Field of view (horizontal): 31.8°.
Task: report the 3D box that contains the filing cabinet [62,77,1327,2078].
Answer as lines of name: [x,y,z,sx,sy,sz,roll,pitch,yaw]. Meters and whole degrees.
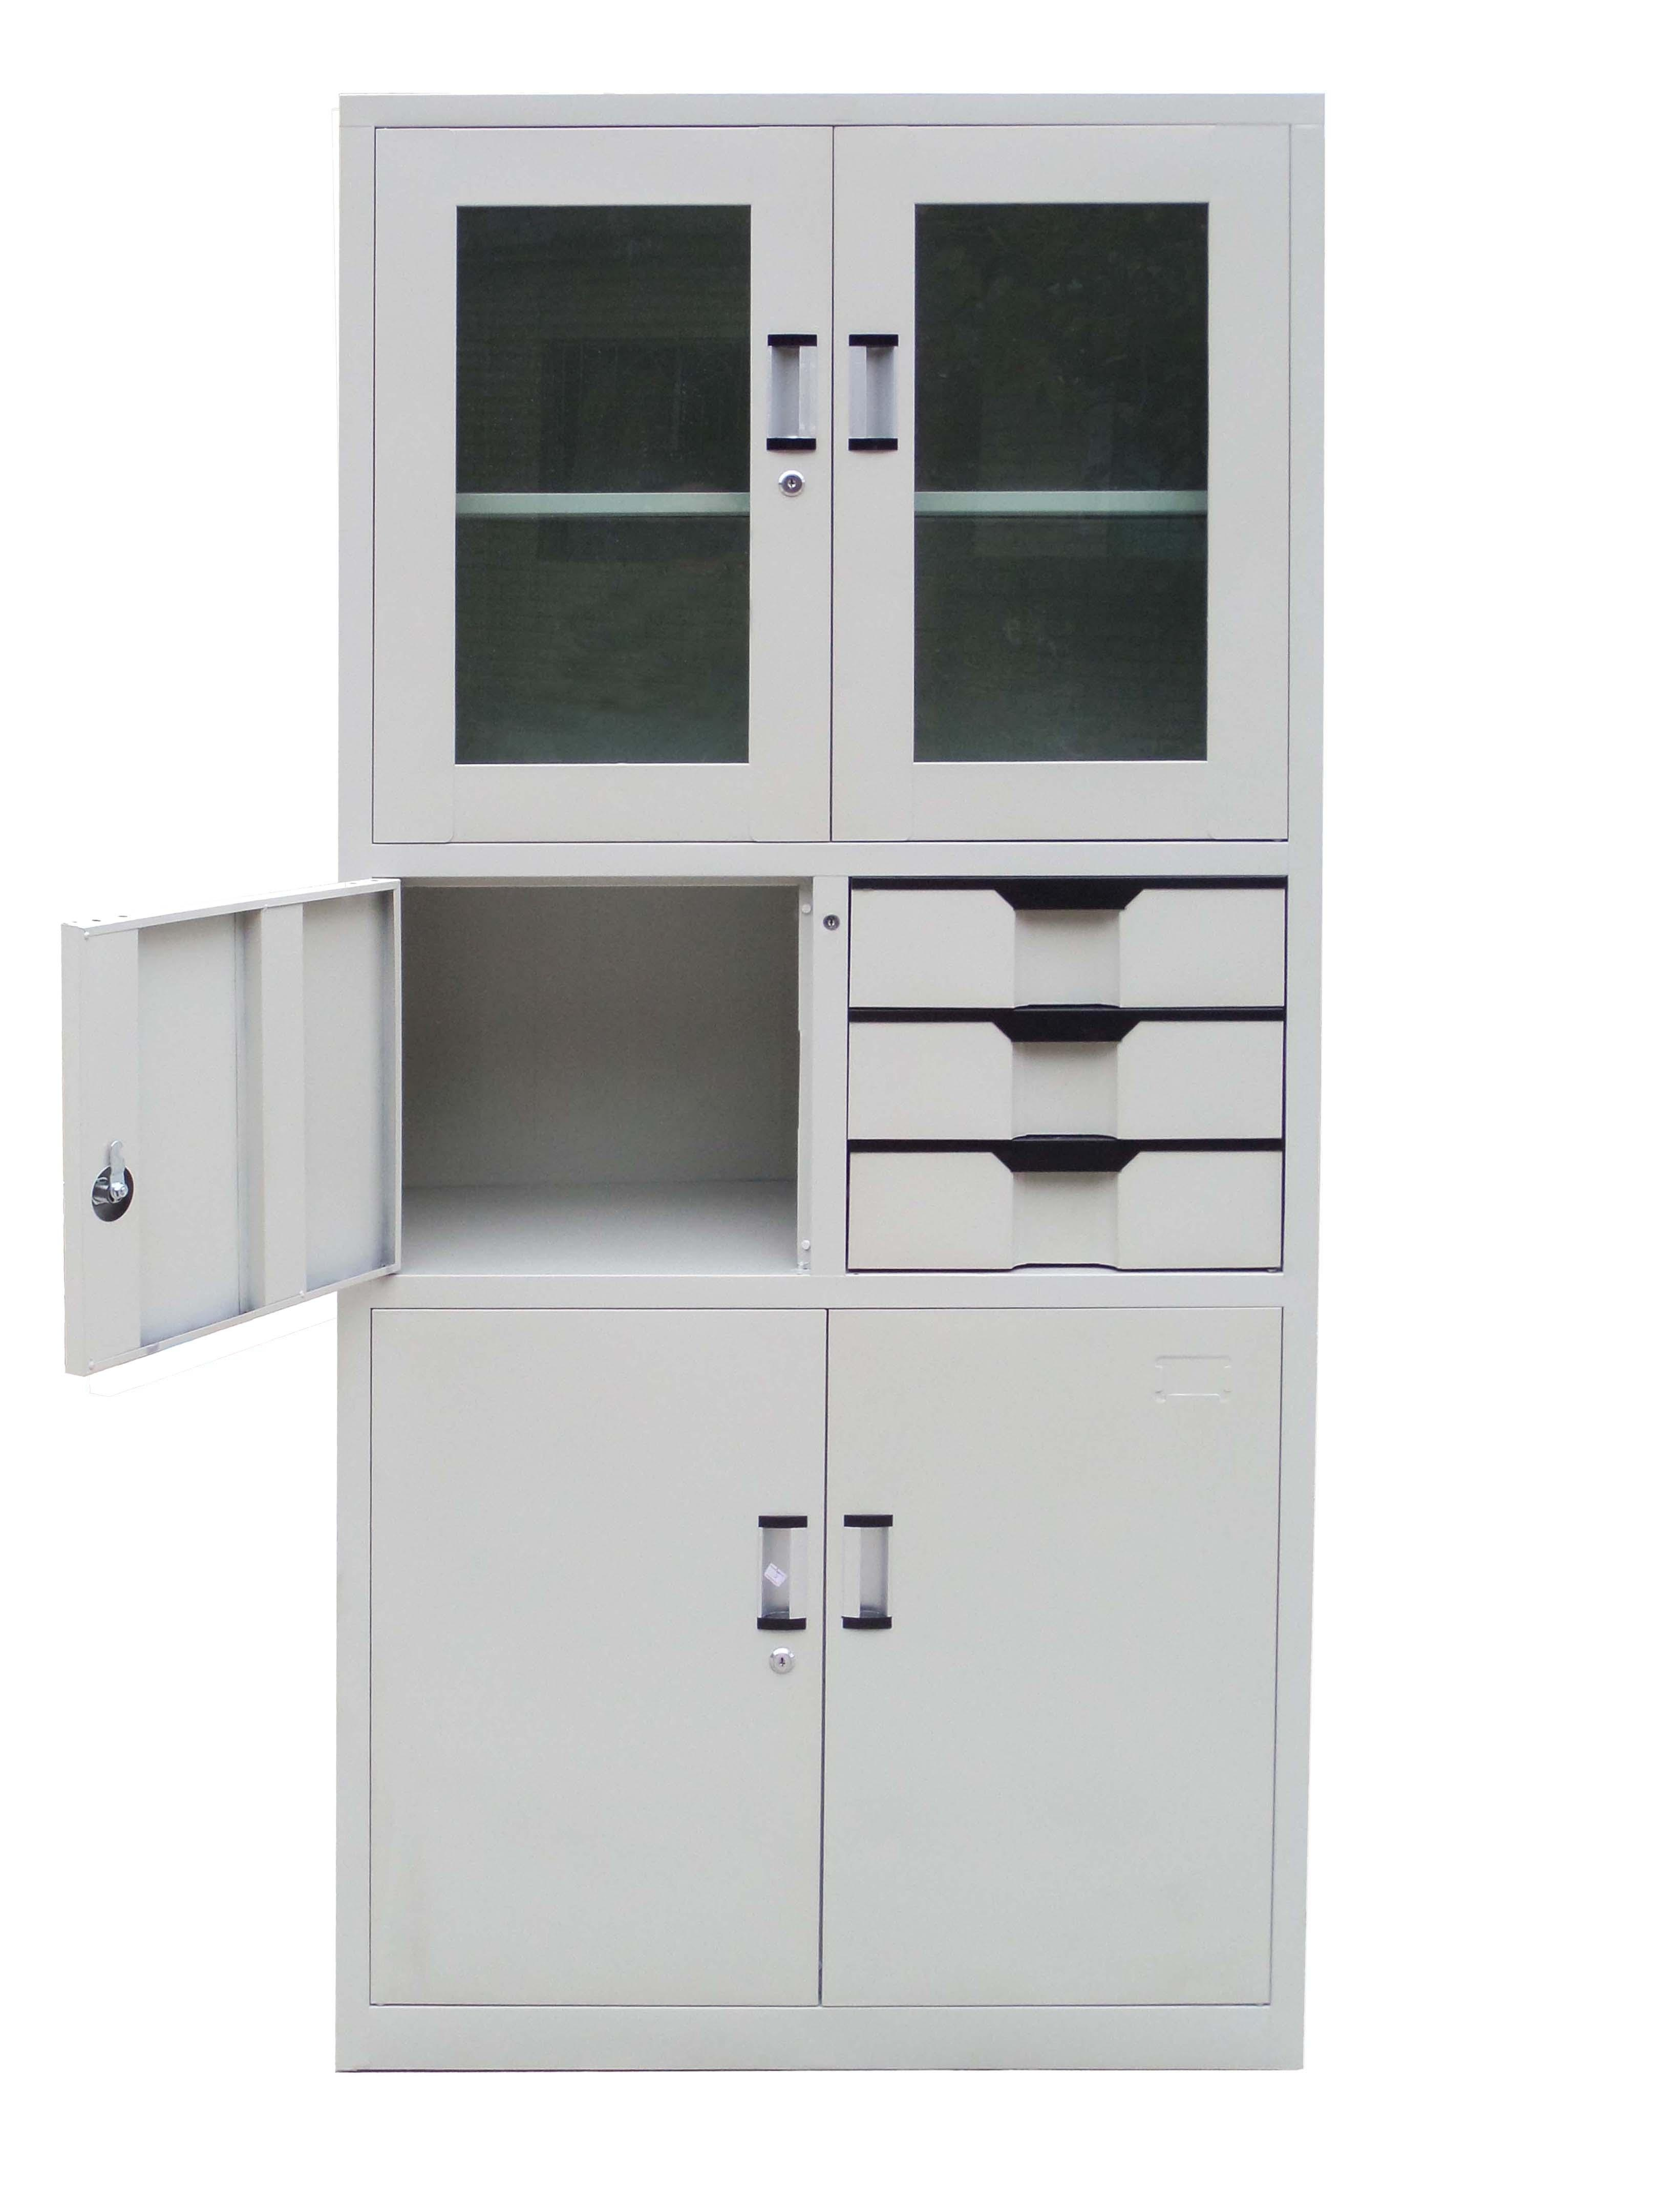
filing cabinet: [-0.079,0.004,2.929,1.141,1.590,1.203,0,-33,2]
